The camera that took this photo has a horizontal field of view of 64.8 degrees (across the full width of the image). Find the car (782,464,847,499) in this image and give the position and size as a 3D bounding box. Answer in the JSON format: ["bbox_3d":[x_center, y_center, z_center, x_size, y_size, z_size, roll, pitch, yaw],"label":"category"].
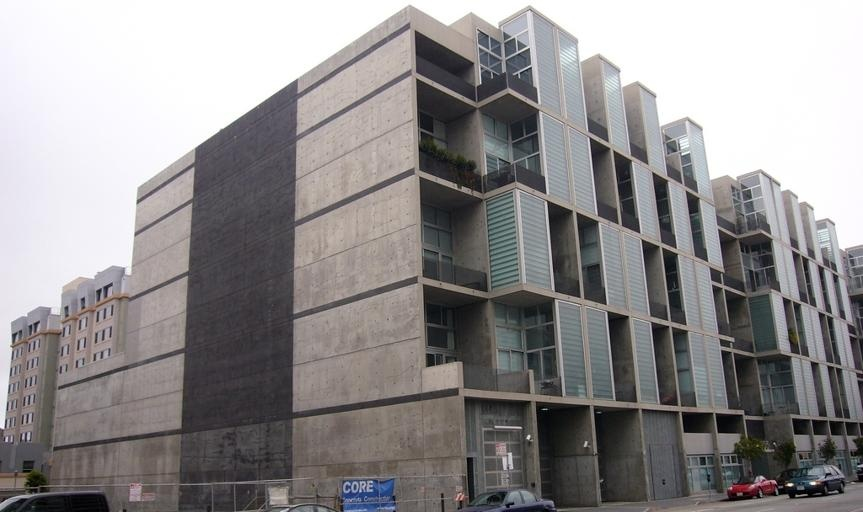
[{"bbox_3d":[31.248,18.459,55.659,5.081,2.443,2.199,8,-27,-24],"label":"car"}]

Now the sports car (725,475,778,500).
[{"bbox_3d":[28.413,20.442,59.795,2.252,1.983,6.167,-24,-32,38],"label":"sports car"}]

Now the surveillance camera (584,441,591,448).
[{"bbox_3d":[12.546,15.366,55.153,0.581,0.532,0.315,3,-7,-6],"label":"surveillance camera"}]

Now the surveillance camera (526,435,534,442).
[{"bbox_3d":[7.453,14.010,52.017,0.574,0.623,0.224,-11,-26,17],"label":"surveillance camera"}]
